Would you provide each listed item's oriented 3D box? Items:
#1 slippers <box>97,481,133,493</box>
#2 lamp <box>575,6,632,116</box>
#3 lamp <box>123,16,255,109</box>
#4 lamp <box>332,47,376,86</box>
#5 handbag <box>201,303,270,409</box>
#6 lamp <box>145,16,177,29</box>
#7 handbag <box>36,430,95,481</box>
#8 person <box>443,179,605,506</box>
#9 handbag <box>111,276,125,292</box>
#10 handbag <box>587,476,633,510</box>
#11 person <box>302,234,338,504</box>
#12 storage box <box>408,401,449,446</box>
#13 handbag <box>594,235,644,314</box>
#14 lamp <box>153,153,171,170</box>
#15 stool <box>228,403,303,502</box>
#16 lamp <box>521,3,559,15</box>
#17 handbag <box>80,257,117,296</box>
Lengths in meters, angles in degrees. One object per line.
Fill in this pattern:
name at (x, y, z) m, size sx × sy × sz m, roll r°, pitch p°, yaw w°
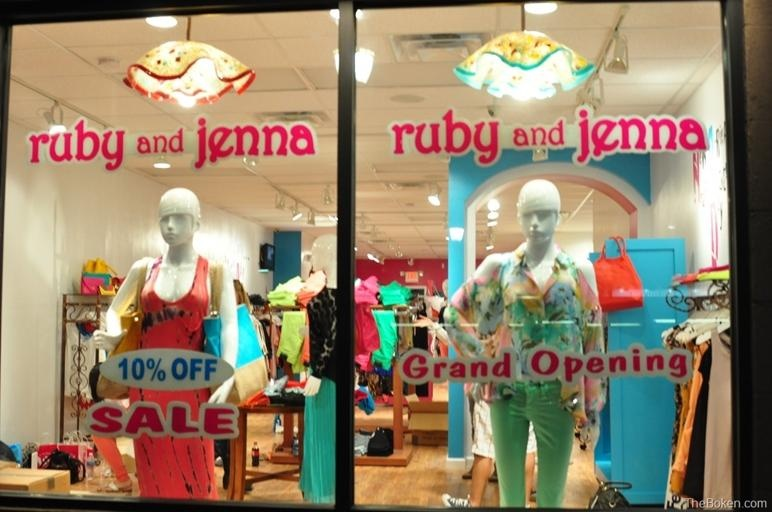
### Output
slippers at (-1.232, 1.040, 3.099) m, size 0.133 × 0.057 × 0.053 m, roll 12°, pitch -12°, yaw -19°
lamp at (1.000, -0.880, 3.138) m, size 0.131 × 0.460 × 0.212 m, roll 19°, pitch -14°, yaw 7°
lamp at (-0.901, -0.839, 3.331) m, size 0.455 × 0.529 × 0.465 m, roll -6°, pitch -11°, yaw 31°
lamp at (-0.144, -0.824, 3.079) m, size 0.158 × 0.123 × 0.161 m, roll 0°, pitch 1°, yaw 36°
handbag at (-0.699, 0.468, 3.119) m, size 0.306 × 0.443 × 0.226 m, roll -19°, pitch -7°, yaw -30°
lamp at (-1.038, -1.081, 3.183) m, size 0.139 × 0.052 × 0.061 m, roll 1°, pitch 9°, yaw -17°
handbag at (-1.445, 0.907, 3.104) m, size 0.212 × 0.157 × 0.120 m, roll 2°, pitch -4°, yaw 14°
person at (0.623, 0.385, 3.058) m, size 0.716 × 1.429 × 0.231 m, roll 6°, pitch 9°, yaw 15°
handbag at (-1.254, 0.133, 3.211) m, size 0.061 × 0.069 × 0.070 m, roll 0°, pitch -14°, yaw 10°
handbag at (0.989, 1.047, 3.032) m, size 0.139 × 0.069 × 0.189 m, roll -1°, pitch -6°, yaw 14°
person at (-0.291, 0.497, 3.093) m, size 0.150 × 1.171 × 0.366 m, roll 2°, pitch 8°, yaw -6°
storage box at (0.253, 0.841, 3.516) m, size 0.275 × 0.238 × 0.285 m, roll 0°, pitch -15°, yaw -6°
handbag at (1.036, 0.091, 3.016) m, size 0.195 × 0.316 × 0.139 m, roll 1°, pitch 9°, yaw -15°
lamp at (-1.030, -0.431, 3.148) m, size 0.070 × 0.078 × 0.075 m, roll 2°, pitch -6°, yaw -3°
stool at (-0.541, 0.878, 3.177) m, size 0.327 × 0.372 × 0.335 m, roll -13°, pitch -20°, yaw 35°
lamp at (0.706, -1.113, 3.104) m, size 0.137 × 0.042 × 0.123 m, roll 7°, pitch 10°, yaw 22°
handbag at (-1.387, 0.109, 3.250) m, size 0.081 × 0.174 × 0.157 m, roll -16°, pitch -14°, yaw 41°
